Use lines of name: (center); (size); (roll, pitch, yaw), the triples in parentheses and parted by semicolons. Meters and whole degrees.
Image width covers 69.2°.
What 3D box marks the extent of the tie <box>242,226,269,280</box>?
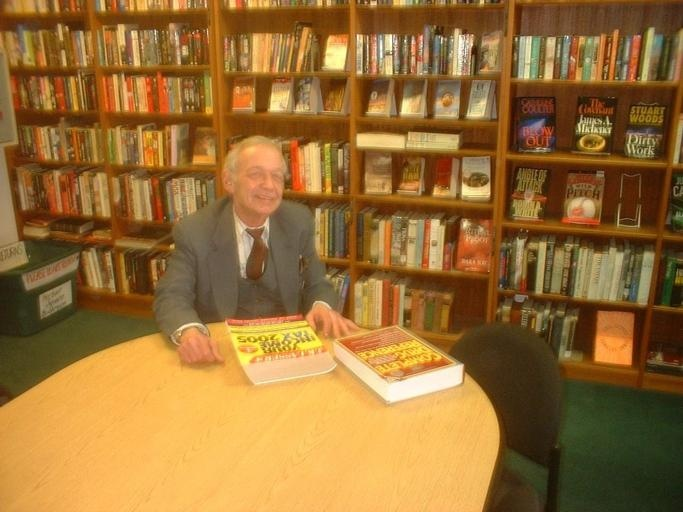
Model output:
tie: (-0.411, -0.013, 2.388); (0.110, 0.244, 0.098); (-4, 19, -9)
